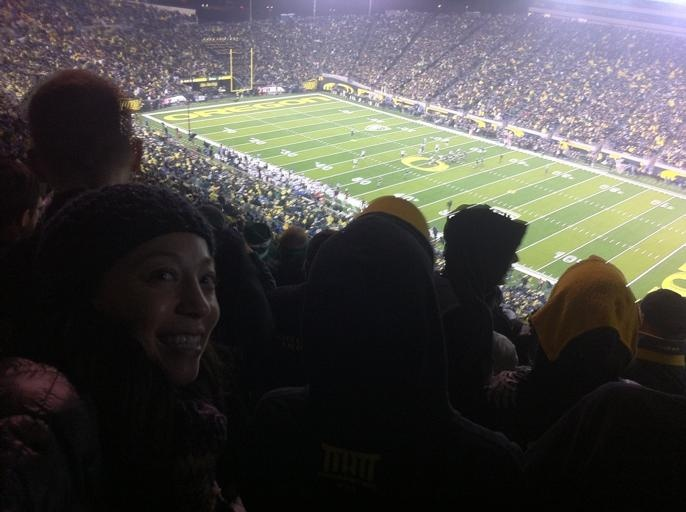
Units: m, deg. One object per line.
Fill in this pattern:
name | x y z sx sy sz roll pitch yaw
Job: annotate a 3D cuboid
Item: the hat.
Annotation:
hat | -0.438 -0.025 1.117 0.223 0.132 0.282 -33 -6 21
